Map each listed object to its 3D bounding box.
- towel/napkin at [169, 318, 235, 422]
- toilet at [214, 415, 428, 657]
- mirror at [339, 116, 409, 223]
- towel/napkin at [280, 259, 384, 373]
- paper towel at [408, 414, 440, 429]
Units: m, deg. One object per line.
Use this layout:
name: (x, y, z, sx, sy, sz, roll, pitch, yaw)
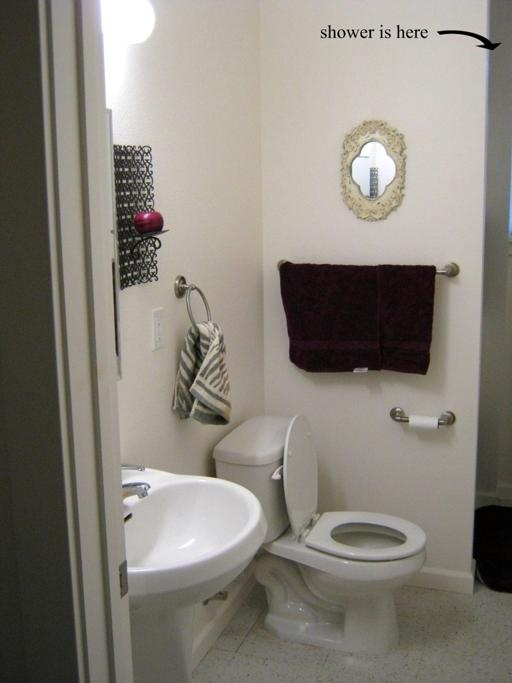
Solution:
towel/napkin: (-0.155, 0.086, 1.749, 0.120, 0.312, 0.200, 4, 6, 26)
toilet: (0.289, 0.612, 2.323, 0.736, 1.060, 0.575, 1, 7, 17)
mirror: (0.434, -0.629, 2.172, 0.236, 0.406, 0.013, 5, 44, 14)
towel/napkin: (0.285, -0.083, 2.177, 0.320, 0.443, 0.104, 0, 10, 11)
paper towel: (0.637, 0.302, 2.202, 0.088, 0.057, 0.042, 4, 3, 20)
